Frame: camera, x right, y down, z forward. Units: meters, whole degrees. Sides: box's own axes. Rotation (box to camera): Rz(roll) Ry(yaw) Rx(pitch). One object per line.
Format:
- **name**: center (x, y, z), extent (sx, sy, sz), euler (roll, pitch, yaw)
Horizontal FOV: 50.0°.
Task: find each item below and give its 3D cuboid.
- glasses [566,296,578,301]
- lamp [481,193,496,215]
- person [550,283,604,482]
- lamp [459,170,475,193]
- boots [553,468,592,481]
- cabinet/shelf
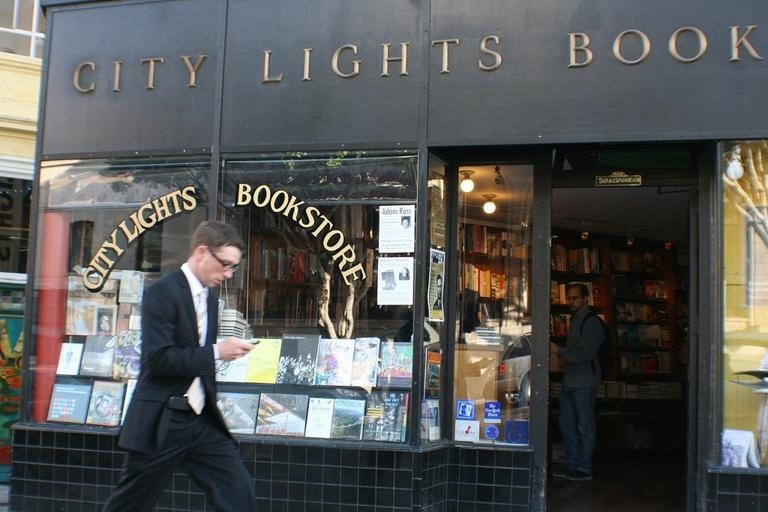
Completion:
- **glasses**: center (2.527, 0.564, 11.082), extent (0.156, 0.049, 0.154), euler (7, -7, -11)
- **lamp**: center (1.065, -0.541, 8.446), extent (0.172, 0.236, 0.175), euler (1, -7, 1)
- **person**: center (2.476, 1.543, 10.460), extent (0.641, 2.457, 0.541), euler (-1, -8, 15)
- **lamp**: center (0.845, -0.773, 8.470), extent (0.191, 0.262, 0.193), euler (1, -6, -2)
- **boots**: center (2.334, 2.712, 10.216), extent (0.445, 0.185, 0.167), euler (5, -12, 10)
- **cabinet/shelf**: center (2.369, 0.963, 10.376), extent (2.987, 2.866, 0.972), euler (4, -11, -18)
